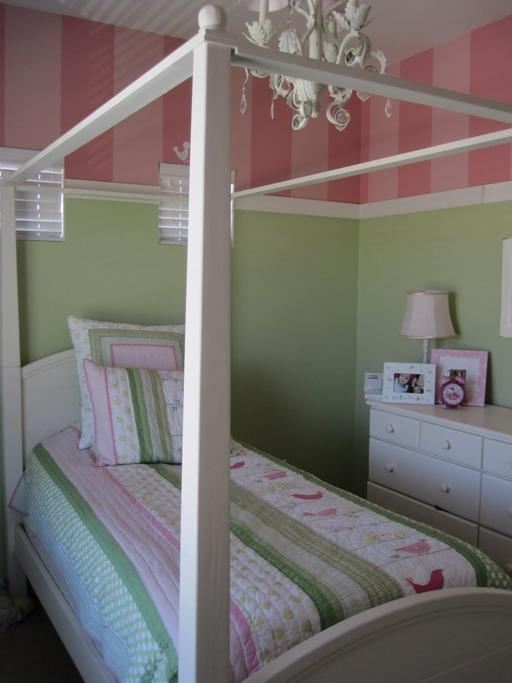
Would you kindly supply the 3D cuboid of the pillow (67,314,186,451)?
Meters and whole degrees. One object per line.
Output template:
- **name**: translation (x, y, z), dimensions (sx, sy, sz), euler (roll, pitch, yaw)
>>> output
- **pillow**: translation (-0.582, 0.164, 2.507), dimensions (0.588, 0.548, 0.171), euler (1, -18, -41)

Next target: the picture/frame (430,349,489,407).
- **picture/frame**: translation (1.026, 0.185, 2.773), dimensions (0.264, 0.263, 0.021), euler (-6, -18, 27)

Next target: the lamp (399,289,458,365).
- **lamp**: translation (0.912, -0.041, 2.972), dimensions (0.272, 0.449, 0.275), euler (-4, 10, -14)

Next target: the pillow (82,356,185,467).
- **pillow**: translation (-0.514, 0.283, 2.315), dimensions (0.112, 0.449, 0.491), euler (-12, -3, 36)

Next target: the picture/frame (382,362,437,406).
- **picture/frame**: translation (0.789, 0.216, 2.833), dimensions (0.209, 0.178, 0.018), euler (3, -1, 15)
